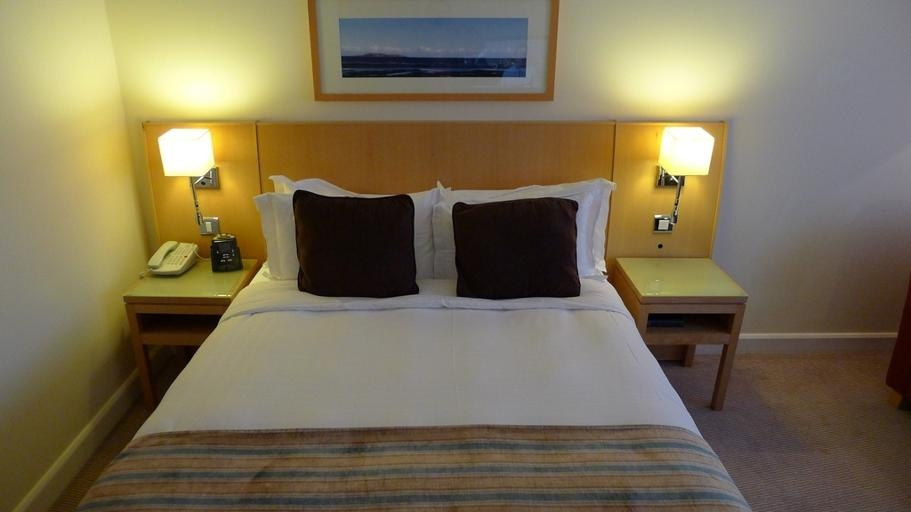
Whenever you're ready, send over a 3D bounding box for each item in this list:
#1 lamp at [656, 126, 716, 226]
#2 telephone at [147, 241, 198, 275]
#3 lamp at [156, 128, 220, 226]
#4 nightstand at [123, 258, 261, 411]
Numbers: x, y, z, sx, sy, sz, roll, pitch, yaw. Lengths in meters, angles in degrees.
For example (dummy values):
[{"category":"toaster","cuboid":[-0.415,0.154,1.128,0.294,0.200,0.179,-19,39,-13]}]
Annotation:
[{"category":"lamp","cuboid":[1.722,-0.595,4.610,0.344,0.763,0.339,3,22,8]},{"category":"telephone","cuboid":[-2.171,0.013,4.651,0.331,0.137,0.339,-4,32,-1]},{"category":"lamp","cuboid":[-2.002,-0.567,4.606,0.356,0.793,0.294,-7,23,-16]},{"category":"nightstand","cuboid":[-1.945,0.616,4.776,0.934,0.903,0.663,-5,16,-2]}]
